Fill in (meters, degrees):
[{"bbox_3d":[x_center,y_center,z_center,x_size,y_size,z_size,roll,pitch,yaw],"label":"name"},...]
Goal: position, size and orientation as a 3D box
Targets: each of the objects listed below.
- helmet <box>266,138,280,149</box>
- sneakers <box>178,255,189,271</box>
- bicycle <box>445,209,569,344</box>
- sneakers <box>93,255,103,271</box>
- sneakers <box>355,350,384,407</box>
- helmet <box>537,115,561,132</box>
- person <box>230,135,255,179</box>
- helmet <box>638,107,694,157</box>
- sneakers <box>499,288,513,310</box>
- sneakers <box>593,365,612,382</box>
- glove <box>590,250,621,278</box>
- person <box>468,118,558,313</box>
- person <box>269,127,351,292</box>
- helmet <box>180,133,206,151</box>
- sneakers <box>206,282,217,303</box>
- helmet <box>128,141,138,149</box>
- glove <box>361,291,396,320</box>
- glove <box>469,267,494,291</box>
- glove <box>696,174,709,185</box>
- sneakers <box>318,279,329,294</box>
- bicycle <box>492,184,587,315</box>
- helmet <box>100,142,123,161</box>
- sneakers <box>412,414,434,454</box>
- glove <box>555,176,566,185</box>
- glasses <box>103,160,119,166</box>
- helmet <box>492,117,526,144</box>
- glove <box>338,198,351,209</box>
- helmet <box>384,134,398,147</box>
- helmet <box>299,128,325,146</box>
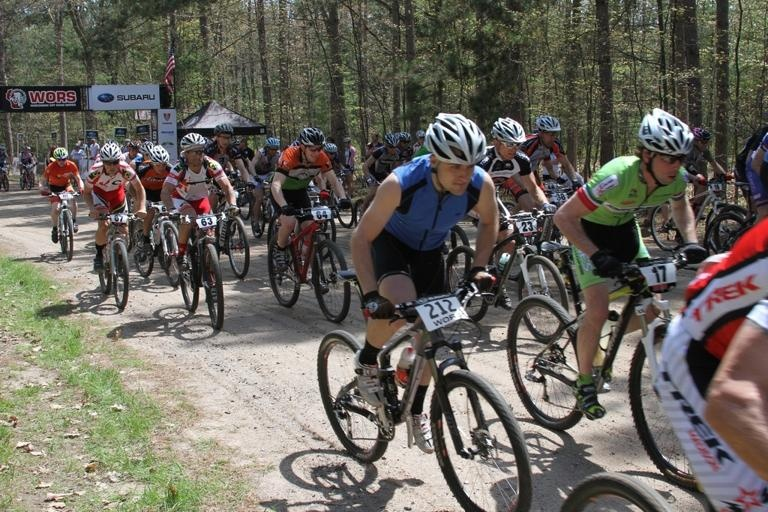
[{"bbox_3d":[-2.613,-2.705,16.317,0.257,0.337,0.333,2,2,-31],"label":"helmet"},{"bbox_3d":[-3.058,0.119,10.472,0.163,0.241,0.230,1,3,-18],"label":"sneakers"},{"bbox_3d":[1.498,0.141,9.015,1.117,1.538,2.345,-10,13,-29],"label":"bicycle"},{"bbox_3d":[-4.716,0.112,11.522,0.174,0.274,0.253,1,-4,-21],"label":"sneakers"},{"bbox_3d":[-0.135,1.030,5.993,0.148,0.207,0.495,-11,52,-22],"label":"sneakers"},{"bbox_3d":[2.564,-2.112,10.943,0.235,0.168,0.374,-2,12,-8],"label":"helmet"},{"bbox_3d":[-3.270,-2.171,15.397,0.416,1.008,0.303,12,-14,-13],"label":"person"},{"bbox_3d":[2.392,-1.094,5.947,0.282,0.239,0.386,4,-9,-23],"label":"helmet"},{"bbox_3d":[1.754,0.646,9.818,0.132,0.199,0.421,-13,-21,0],"label":"sneakers"},{"bbox_3d":[1.990,1.070,6.336,0.109,0.051,0.190,10,0,-13],"label":"sneakers"},{"bbox_3d":[1.861,0.074,5.804,0.262,0.247,0.180,4,13,18],"label":"glove"},{"bbox_3d":[2.122,-1.008,10.099,1.143,2.248,0.874,10,-4,7],"label":"person"},{"bbox_3d":[-1.307,-0.843,10.843,1.061,2.308,1.476,-12,27,-39],"label":"person"},{"bbox_3d":[-2.916,-1.744,10.370,0.359,0.168,0.252,-7,-2,38],"label":"helmet"},{"bbox_3d":[-2.431,0.500,9.688,0.214,0.295,0.236,1,-5,-16],"label":"sneakers"},{"bbox_3d":[-6.520,-2.890,17.921,0.154,0.105,0.195,1,1,-40],"label":"helmet"},{"bbox_3d":[-0.060,0.380,5.492,0.172,0.111,0.245,19,8,-34],"label":"glove"},{"bbox_3d":[0.829,0.185,5.722,0.130,0.095,0.221,9,2,27],"label":"glove"},{"bbox_3d":[6.238,-1.514,13.619,0.090,0.216,0.272,28,24,33],"label":"glove"},{"bbox_3d":[-0.869,0.425,9.866,0.120,0.181,0.178,1,14,-22],"label":"sneakers"},{"bbox_3d":[1.561,0.100,9.092,1.041,1.432,2.231,1,-2,-21],"label":"bicycle"},{"bbox_3d":[-4.511,-1.738,11.382,0.258,0.181,0.399,2,16,-28],"label":"helmet"},{"bbox_3d":[0.344,1.516,5.790,0.111,0.165,0.370,0,-1,-10],"label":"sneakers"},{"bbox_3d":[3.167,-1.362,12.435,0.157,0.128,0.157,24,-2,45],"label":"glove"},{"bbox_3d":[-4.478,-1.544,11.340,0.235,0.126,0.214,-6,14,-21],"label":"glasses"},{"bbox_3d":[1.671,-1.746,9.471,0.313,0.217,0.495,-9,31,-21],"label":"helmet"},{"bbox_3d":[-0.595,-0.804,10.457,0.123,0.087,0.173,-2,7,-28],"label":"glove"},{"bbox_3d":[0.183,-2.729,16.120,0.261,0.330,0.329,-1,-5,-14],"label":"helmet"},{"bbox_3d":[-1.110,-1.777,10.345,0.260,0.208,0.354,0,5,-21],"label":"helmet"}]
